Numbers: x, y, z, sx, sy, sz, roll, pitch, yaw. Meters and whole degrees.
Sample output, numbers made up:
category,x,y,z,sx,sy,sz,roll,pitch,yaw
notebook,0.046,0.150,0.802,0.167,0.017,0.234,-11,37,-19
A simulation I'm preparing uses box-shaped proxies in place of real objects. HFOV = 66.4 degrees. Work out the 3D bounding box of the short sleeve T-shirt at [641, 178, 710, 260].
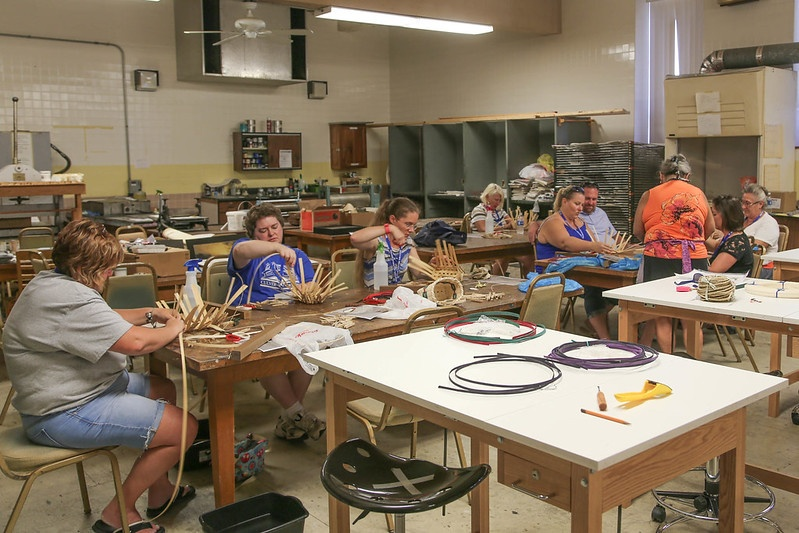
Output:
category,x,y,z,sx,sy,sz,roll,pitch,yaw
short sleeve T-shirt,2.286,-0.386,5.063,0.510,0.649,0.248,2,13,18

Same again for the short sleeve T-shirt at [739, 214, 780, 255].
category,x,y,z,sx,sy,sz,roll,pitch,yaw
short sleeve T-shirt,3.305,-0.281,5.601,0.468,0.330,0.254,-4,9,-34

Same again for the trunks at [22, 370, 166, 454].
category,x,y,z,sx,sy,sz,roll,pitch,yaw
trunks,-1.498,0.753,3.039,0.546,0.126,0.423,-6,9,-20

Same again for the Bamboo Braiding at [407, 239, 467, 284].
category,x,y,z,sx,sy,sz,roll,pitch,yaw
Bamboo Braiding,0.288,-0.022,4.618,0.225,0.223,0.554,13,7,12

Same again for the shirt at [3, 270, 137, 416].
category,x,y,z,sx,sy,sz,roll,pitch,yaw
shirt,-1.659,0.277,3.241,0.718,0.772,0.932,2,7,-38

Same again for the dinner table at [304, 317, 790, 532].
category,x,y,z,sx,sy,sz,roll,pitch,yaw
dinner table,0.626,0.798,2.763,1.632,0.783,1.088,7,14,40

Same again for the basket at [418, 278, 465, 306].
category,x,y,z,sx,sy,sz,roll,pitch,yaw
basket,0.279,0.172,4.072,0.231,0.203,0.319,-8,-1,-13

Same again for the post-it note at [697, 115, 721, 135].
category,x,y,z,sx,sy,sz,roll,pitch,yaw
post-it note,3.774,-1.695,7.388,0.250,0.229,0.251,-3,8,-43

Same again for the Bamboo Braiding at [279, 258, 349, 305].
category,x,y,z,sx,sy,sz,roll,pitch,yaw
Bamboo Braiding,-0.570,0.076,4.240,0.370,0.151,0.388,6,8,12

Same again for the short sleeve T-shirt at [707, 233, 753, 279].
category,x,y,z,sx,sy,sz,roll,pitch,yaw
short sleeve T-shirt,2.654,-0.076,4.881,0.431,0.343,0.226,-4,12,-12

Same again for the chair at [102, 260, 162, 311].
category,x,y,z,sx,sy,sz,roll,pitch,yaw
chair,-1.951,0.150,4.426,0.333,0.511,0.346,-4,18,-34

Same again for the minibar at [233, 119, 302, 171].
category,x,y,z,sx,sy,sz,roll,pitch,yaw
minibar,-2.450,-2.183,11.067,1.188,0.731,0.350,-2,4,-27

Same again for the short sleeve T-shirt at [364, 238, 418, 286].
category,x,y,z,sx,sy,sz,roll,pitch,yaw
short sleeve T-shirt,-0.083,-0.036,4.572,0.208,0.311,0.373,12,13,40

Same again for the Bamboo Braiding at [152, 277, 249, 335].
category,x,y,z,sx,sy,sz,roll,pitch,yaw
Bamboo Braiding,-1.125,0.240,3.572,0.381,0.144,0.394,11,9,42

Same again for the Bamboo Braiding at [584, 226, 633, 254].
category,x,y,z,sx,sy,sz,roll,pitch,yaw
Bamboo Braiding,1.986,-0.247,5.916,0.451,0.185,0.426,20,8,41
